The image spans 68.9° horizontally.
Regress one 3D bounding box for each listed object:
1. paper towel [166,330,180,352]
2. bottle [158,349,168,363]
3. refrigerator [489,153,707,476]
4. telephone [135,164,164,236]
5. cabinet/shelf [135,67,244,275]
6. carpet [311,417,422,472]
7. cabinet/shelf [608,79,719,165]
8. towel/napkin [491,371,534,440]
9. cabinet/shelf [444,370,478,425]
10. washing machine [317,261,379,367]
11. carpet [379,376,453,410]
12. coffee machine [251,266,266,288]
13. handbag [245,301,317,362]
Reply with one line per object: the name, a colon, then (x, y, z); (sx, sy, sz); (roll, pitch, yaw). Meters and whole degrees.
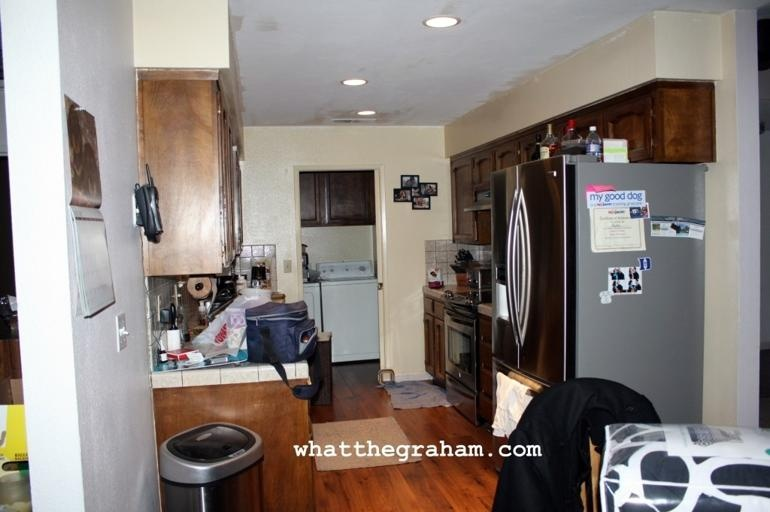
paper towel: (-1.233, 0.490, 3.264); (0.068, 0.118, 0.095); (-5, 8, -24)
bottle: (-1.242, 0.565, 3.150); (0.050, 0.076, 0.026); (-9, 11, -44)
refrigerator: (1.333, 0.208, 3.756); (1.220, 1.624, 1.218); (0, 3, 38)
telephone: (-1.156, -0.245, 2.711); (0.122, 0.364, 0.127); (-4, 8, -17)
cabinet/shelf: (-1.061, -0.452, 2.964); (0.266, 0.654, 1.351); (-3, 6, -9)
carpet: (-0.178, 1.494, 4.549); (0.798, 0.052, 0.847); (-3, 7, -9)
cabinet/shelf: (1.813, -0.782, 3.617); (0.361, 0.498, 0.534); (1, -3, 4)
towel/napkin: (0.827, 0.981, 3.699); (0.153, 0.493, 0.400); (7, -8, -25)
cabinet/shelf: (0.683, 1.273, 4.968); (0.258, 0.242, 0.381); (1, 2, -12)
washing machine: (-0.453, 0.684, 6.914); (0.675, 1.142, 0.661); (-3, 8, -7)
carpet: (0.303, 1.360, 5.582); (0.596, 0.071, 0.815); (-3, 7, -10)
coffee machine: (-1.253, 0.202, 5.576); (0.153, 0.204, 0.304); (-4, 7, -12)
handbag: (-0.585, 0.418, 3.197); (0.347, 0.263, 0.322); (-2, 1, 0)
